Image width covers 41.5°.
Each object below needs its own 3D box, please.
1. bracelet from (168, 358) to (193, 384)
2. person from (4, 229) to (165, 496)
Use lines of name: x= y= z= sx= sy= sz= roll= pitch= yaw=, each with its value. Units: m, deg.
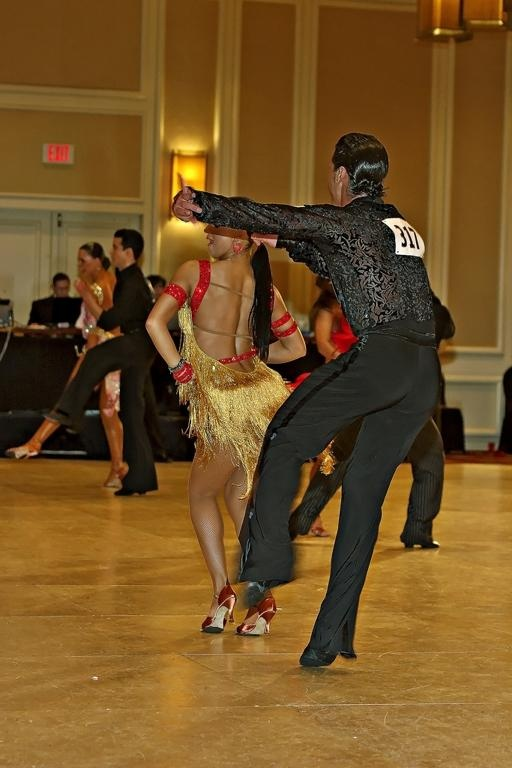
bracelet: x=-0.239 y=-0.039 z=2.092 sx=0.072 sy=0.070 sz=0.037 roll=-46 pitch=32 yaw=-23
person: x=-1.115 y=-0.150 z=4.984 sx=0.771 sy=1.988 sz=1.244 roll=1 pitch=4 yaw=-1
